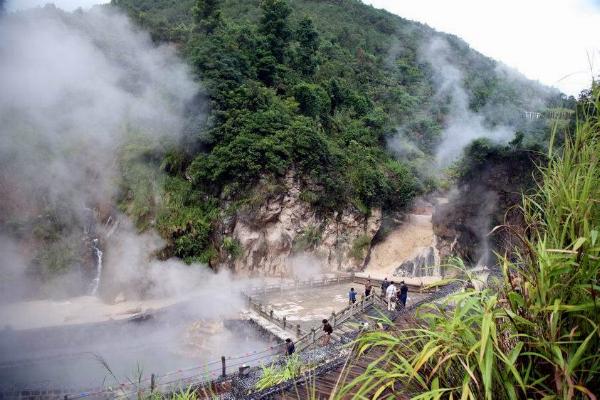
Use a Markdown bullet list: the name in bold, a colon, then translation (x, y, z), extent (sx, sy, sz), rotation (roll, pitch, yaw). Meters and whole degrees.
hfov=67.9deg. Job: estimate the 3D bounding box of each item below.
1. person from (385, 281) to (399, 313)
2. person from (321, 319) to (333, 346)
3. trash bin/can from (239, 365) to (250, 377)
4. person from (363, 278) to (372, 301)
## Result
- **person**: translation (4.987, 5.118, 23.539), extent (0.377, 1.458, 0.635), rotation (16, -34, 20)
- **person**: translation (1.379, 6.597, 22.621), extent (0.474, 1.278, 1.081), rotation (-2, 0, 2)
- **trash bin/can**: translation (-2.359, 7.357, 19.318), extent (0.534, 0.404, 0.291), rotation (3, -4, -38)
- **person**: translation (3.791, 5.053, 25.000), extent (0.409, 1.126, 1.088), rotation (-2, 0, 12)
